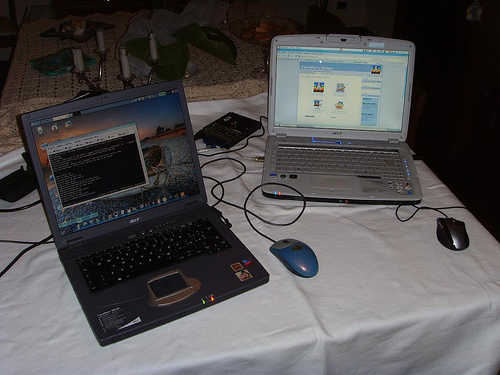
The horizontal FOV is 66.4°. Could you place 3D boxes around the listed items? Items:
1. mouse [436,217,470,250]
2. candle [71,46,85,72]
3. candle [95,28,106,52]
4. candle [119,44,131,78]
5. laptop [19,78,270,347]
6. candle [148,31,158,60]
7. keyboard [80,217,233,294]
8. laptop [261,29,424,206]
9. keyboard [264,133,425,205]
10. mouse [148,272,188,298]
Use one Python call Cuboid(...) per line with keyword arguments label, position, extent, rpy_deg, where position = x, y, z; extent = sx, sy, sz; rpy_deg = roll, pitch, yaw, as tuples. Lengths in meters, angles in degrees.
Cuboid(label="mouse", position=(0.638, 0.126, 1.191), extent=(0.106, 0.038, 0.135), rpy_deg=(-3, 43, 15))
Cuboid(label="candle", position=(-0.708, -0.526, 1.549), extent=(0.044, 0.099, 0.124), rpy_deg=(-15, 35, -19))
Cuboid(label="candle", position=(-0.652, -0.646, 1.649), extent=(0.034, 0.097, 0.141), rpy_deg=(-14, 35, -17))
Cuboid(label="candle", position=(-0.499, -0.499, 1.505), extent=(0.029, 0.109, 0.088), rpy_deg=(-8, 34, -9))
Cuboid(label="laptop", position=(-0.288, 0.038, 1.043), extent=(0.507, 0.372, 0.556), rpy_deg=(-15, 43, -25))
Cuboid(label="candle", position=(-0.400, -0.588, 1.553), extent=(0.032, 0.097, 0.125), rpy_deg=(-9, 34, -10))
Cuboid(label="keyboard", position=(-0.270, 0.189, 1.099), extent=(0.407, 0.038, 0.138), rpy_deg=(-16, 36, -21))
Cuboid(label="laptop", position=(0.313, -0.244, 1.299), extent=(0.543, 0.401, 0.460), rpy_deg=(3, 42, 5))
Cuboid(label="keyboard", position=(0.319, -0.073, 1.364), extent=(0.532, 0.144, 0.266), rpy_deg=(1, 33, 5))
Cuboid(label="mouse", position=(-0.223, 0.261, 1.022), extent=(0.067, 0.007, 0.049), rpy_deg=(-20, 48, -22))
